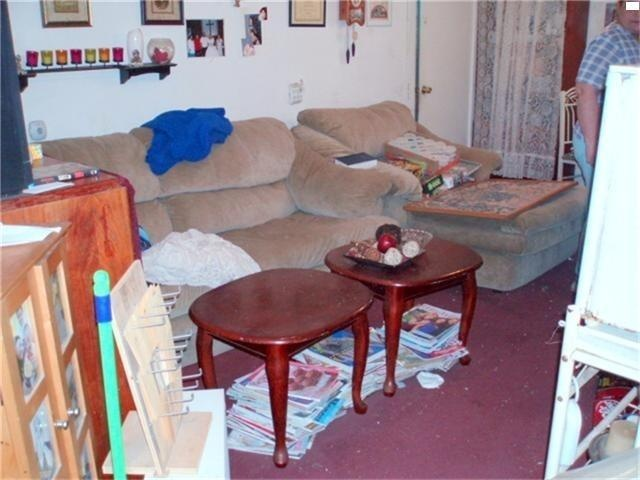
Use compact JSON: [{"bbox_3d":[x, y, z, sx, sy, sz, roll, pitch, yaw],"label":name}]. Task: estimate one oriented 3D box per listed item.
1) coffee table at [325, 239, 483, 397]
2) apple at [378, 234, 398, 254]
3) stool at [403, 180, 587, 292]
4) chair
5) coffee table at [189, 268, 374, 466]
[{"bbox_3d":[0.372,0.329,2.532,0.730,0.547,0.671,-5,17,-18],"label":"coffee table"},{"bbox_3d":[0.297,0.013,2.320,0.077,0.078,0.076,1,19,-14],"label":"apple"},{"bbox_3d":[1.118,-0.265,3.114,0.650,0.454,0.980,11,22,33],"label":"stool"},{"bbox_3d":[0.562,-0.576,3.890,0.911,0.779,1.500,23,32,32],"label":"chair"},{"bbox_3d":[-0.149,0.501,2.143,0.611,0.548,0.747,10,17,33],"label":"coffee table"}]
